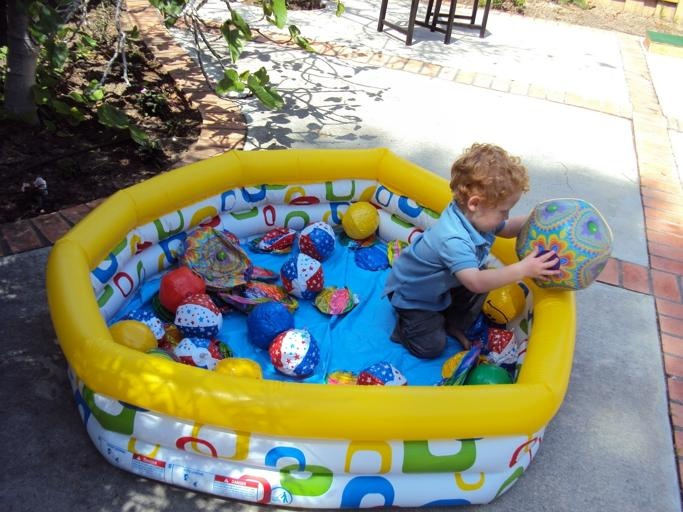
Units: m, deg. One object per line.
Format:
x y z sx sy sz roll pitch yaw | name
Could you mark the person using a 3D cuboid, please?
0.754 0.042 2.958 1.054 1.224 0.686 10 31 9 | person
